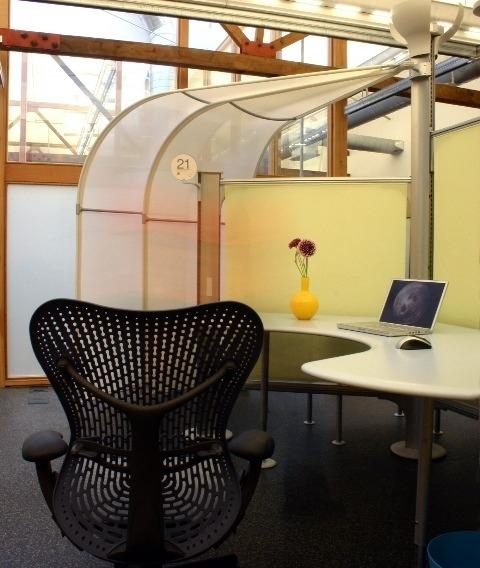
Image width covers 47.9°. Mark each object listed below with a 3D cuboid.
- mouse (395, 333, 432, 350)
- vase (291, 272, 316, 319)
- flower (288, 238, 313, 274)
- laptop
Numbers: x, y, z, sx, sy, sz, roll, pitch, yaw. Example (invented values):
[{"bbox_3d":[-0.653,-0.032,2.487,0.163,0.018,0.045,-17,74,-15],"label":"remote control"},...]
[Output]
[{"bbox_3d":[0.598,0.200,1.848,0.091,0.037,0.055,6,-4,-13],"label":"mouse"},{"bbox_3d":[0.362,0.073,2.972,0.141,0.233,0.215,1,2,21],"label":"vase"},{"bbox_3d":[0.359,-0.141,3.035,0.120,0.220,0.167,0,11,-21],"label":"flower"},{"bbox_3d":[0.691,0.098,2.357,0.263,0.219,0.313,1,0,-26],"label":"laptop"}]
